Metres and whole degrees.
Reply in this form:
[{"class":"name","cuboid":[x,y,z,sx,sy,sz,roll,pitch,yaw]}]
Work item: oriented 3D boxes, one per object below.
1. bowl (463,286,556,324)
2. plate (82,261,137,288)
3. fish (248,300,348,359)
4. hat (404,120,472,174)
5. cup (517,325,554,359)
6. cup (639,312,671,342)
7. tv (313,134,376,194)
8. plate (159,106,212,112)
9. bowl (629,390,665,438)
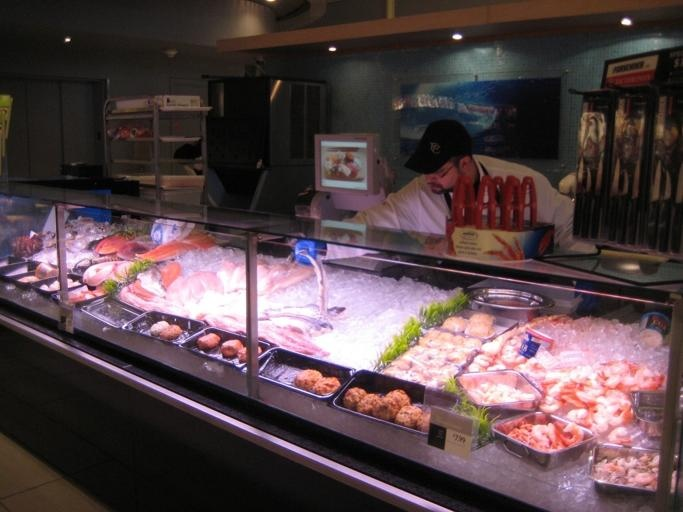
[{"class":"bowl","cuboid":[0.479,0.137,1.522,0.236,0.053,0.238,1,10,0]},{"class":"plate","cuboid":[-0.988,0.072,2.223,0.287,0.128,0.036,7,13,26]},{"class":"fish","cuboid":[-0.153,0.217,1.717,0.204,0.203,0.049,11,-21,9]},{"class":"hat","cuboid":[0.659,-0.787,3.721,0.507,0.265,0.331,-19,23,-30]},{"class":"cup","cuboid":[0.528,0.239,1.472,0.078,0.074,0.077,21,-3,1]},{"class":"cup","cuboid":[0.747,0.165,1.255,0.068,0.074,0.063,1,4,0]},{"class":"tv","cuboid":[0.087,-0.695,3.956,0.492,0.411,0.290,12,22,35]},{"class":"plate","cuboid":[-1.440,-1.389,4.945,0.526,0.044,0.127,-10,16,-40]},{"class":"bowl","cuboid":[0.735,0.368,1.260,0.035,0.109,0.111,-1,12,-7]}]
